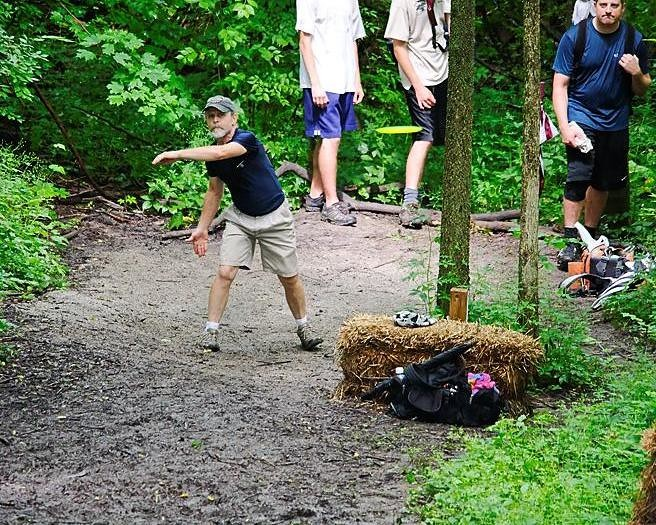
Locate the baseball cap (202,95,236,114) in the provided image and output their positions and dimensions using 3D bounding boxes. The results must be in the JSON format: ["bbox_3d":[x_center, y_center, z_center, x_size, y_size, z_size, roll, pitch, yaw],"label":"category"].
[{"bbox_3d":[-0.902,-1.387,6.464,0.217,0.113,0.295,1,1,19],"label":"baseball cap"}]

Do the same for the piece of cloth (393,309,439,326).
[{"bbox_3d":[0.631,0.410,5.567,0.275,0.065,0.128,1,18,7],"label":"piece of cloth"}]

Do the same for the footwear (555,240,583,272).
[{"bbox_3d":[2.539,-0.069,7.849,0.433,0.183,0.147,-40,32,-29],"label":"footwear"}]

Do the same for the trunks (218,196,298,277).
[{"bbox_3d":[-0.604,-0.264,6.886,0.797,0.615,0.362,4,9,8],"label":"trunks"}]

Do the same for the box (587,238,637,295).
[{"bbox_3d":[2.967,0.013,7.764,0.626,0.493,0.432,4,9,33],"label":"box"}]

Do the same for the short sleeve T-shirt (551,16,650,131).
[{"bbox_3d":[2.947,-2.071,8.308,0.870,1.203,0.283,2,7,6],"label":"short sleeve T-shirt"}]

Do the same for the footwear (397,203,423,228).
[{"bbox_3d":[1.033,-0.577,9.463,0.232,0.186,0.454,0,8,-4],"label":"footwear"}]

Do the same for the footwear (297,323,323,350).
[{"bbox_3d":[-0.158,0.676,6.819,0.140,0.148,0.333,-27,14,-21],"label":"footwear"}]

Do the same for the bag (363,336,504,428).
[{"bbox_3d":[0.730,0.838,5.306,0.930,0.391,0.592,4,14,6],"label":"bag"}]

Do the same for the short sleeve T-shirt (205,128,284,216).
[{"bbox_3d":[-0.724,-0.759,6.841,0.465,0.726,0.713,-23,-1,-38],"label":"short sleeve T-shirt"}]

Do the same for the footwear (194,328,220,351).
[{"bbox_3d":[-1.063,0.681,6.707,0.193,0.216,0.130,0,7,-8],"label":"footwear"}]
